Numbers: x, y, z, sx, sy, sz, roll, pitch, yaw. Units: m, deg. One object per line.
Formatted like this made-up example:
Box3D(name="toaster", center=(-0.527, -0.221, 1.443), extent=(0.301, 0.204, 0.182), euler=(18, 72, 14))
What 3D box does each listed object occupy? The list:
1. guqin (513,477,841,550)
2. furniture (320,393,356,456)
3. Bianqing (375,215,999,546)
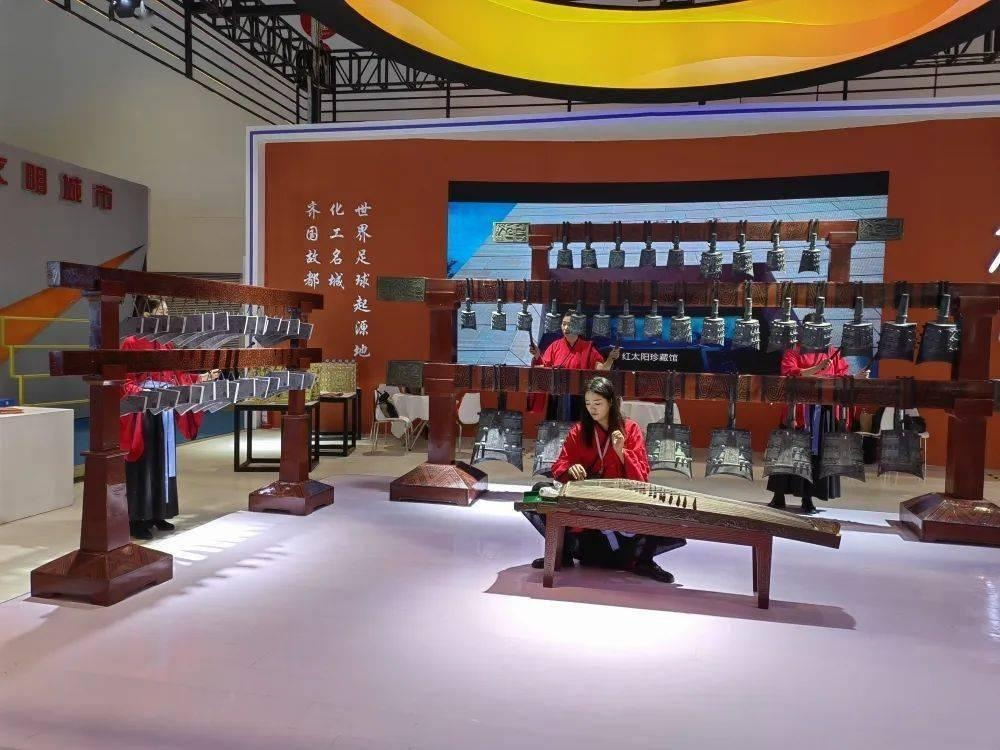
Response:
Box3D(name="guqin", center=(1.135, 0.896, 4.885), extent=(1.425, 0.225, 0.420), euler=(4, 16, 13))
Box3D(name="furniture", center=(-1.913, 0.595, 9.103), extent=(0.339, 0.428, 0.674), euler=(0, 1, -1))
Box3D(name="Bianqing", center=(1.786, 0.042, 6.494), extent=(2.954, 1.522, 0.512), euler=(0, -1, 19))
